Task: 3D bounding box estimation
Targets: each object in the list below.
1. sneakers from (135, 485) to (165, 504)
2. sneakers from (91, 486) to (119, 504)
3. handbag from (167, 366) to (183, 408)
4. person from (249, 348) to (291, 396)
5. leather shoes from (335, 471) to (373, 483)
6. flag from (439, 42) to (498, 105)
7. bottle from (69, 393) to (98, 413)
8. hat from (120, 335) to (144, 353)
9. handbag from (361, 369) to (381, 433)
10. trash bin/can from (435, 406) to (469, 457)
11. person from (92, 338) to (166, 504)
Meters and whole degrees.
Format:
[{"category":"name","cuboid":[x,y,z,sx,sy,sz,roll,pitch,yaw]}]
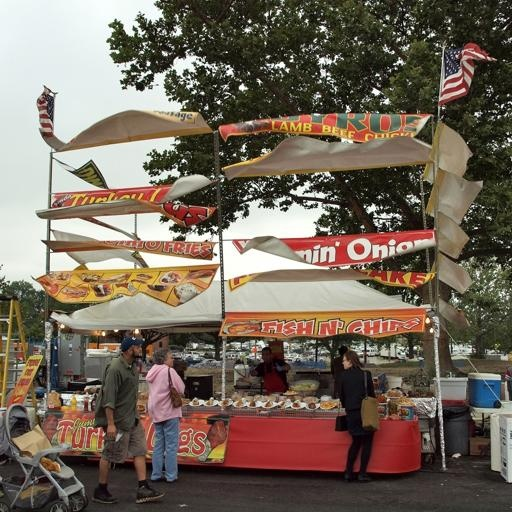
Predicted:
[{"category":"sneakers","cuboid":[-1.342,2.998,8.323,0.453,0.240,0.160,0,-7,-11]},{"category":"sneakers","cuboid":[-1.801,2.979,8.211,0.448,0.235,0.138,4,-6,-5]},{"category":"handbag","cuboid":[-1.156,1.895,9.456,0.201,0.568,0.181,1,-8,-16]},{"category":"person","cuboid":[0.310,2.360,13.462,0.690,0.957,1.299,-1,-7,-3]},{"category":"leather shoes","cuboid":[1.459,3.224,9.629,0.438,0.138,0.137,-2,-12,0]},{"category":"flag","cuboid":[3.606,-3.226,11.605,0.874,1.097,0.464,-8,-10,44]},{"category":"bottle","cuboid":[-2.946,2.542,11.435,0.371,0.179,0.322,1,-3,8]},{"category":"hat","cuboid":[-1.557,1.111,8.372,0.293,0.123,0.170,-13,14,-24]},{"category":"handbag","cuboid":[1.621,2.107,9.530,0.245,0.867,0.216,2,-9,-26]},{"category":"trash bin/can","cuboid":[3.666,3.233,12.202,0.731,0.699,0.642,-5,-19,29]},{"category":"person","cuboid":[-1.618,2.056,8.258,0.700,2.055,0.422,4,-9,-33]}]
